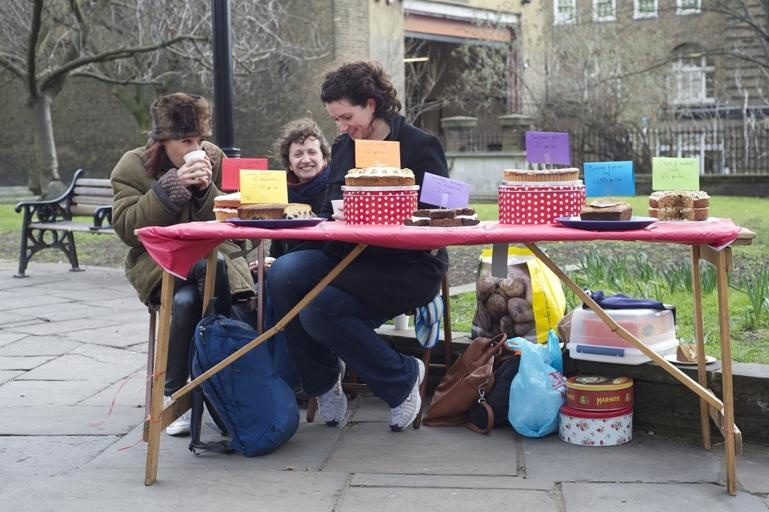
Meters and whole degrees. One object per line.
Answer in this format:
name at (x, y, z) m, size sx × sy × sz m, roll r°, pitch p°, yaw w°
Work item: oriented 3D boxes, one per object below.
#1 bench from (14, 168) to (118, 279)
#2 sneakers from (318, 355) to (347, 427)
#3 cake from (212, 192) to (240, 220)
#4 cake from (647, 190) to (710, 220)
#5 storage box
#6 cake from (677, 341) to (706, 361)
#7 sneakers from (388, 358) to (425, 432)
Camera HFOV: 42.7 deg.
bench at (-4.360, -0.518, 14.035) m, size 1.759 × 1.405 × 2.411 m, roll -1°, pitch 8°, yaw 5°
sneakers at (-0.434, 1.191, 8.609) m, size 0.246 × 0.571 × 0.247 m, roll 3°, pitch -1°, yaw -44°
cake at (-1.345, -0.399, 8.314) m, size 0.225 × 0.164 × 0.229 m, roll -2°, pitch -4°, yaw 16°
cake at (2.420, -0.411, 8.063) m, size 0.464 × 0.229 × 0.196 m, roll 1°, pitch 9°, yaw 15°
storage box at (2.102, 0.693, 8.670) m, size 0.751 × 0.430 × 0.901 m, roll -4°, pitch 2°, yaw -30°
cake at (2.563, 0.813, 8.287) m, size 0.150 × 0.117 × 0.153 m, roll 2°, pitch 3°, yaw 7°
sneakers at (0.220, 1.151, 8.494) m, size 0.284 × 0.684 × 0.222 m, roll 2°, pitch 5°, yaw -41°
